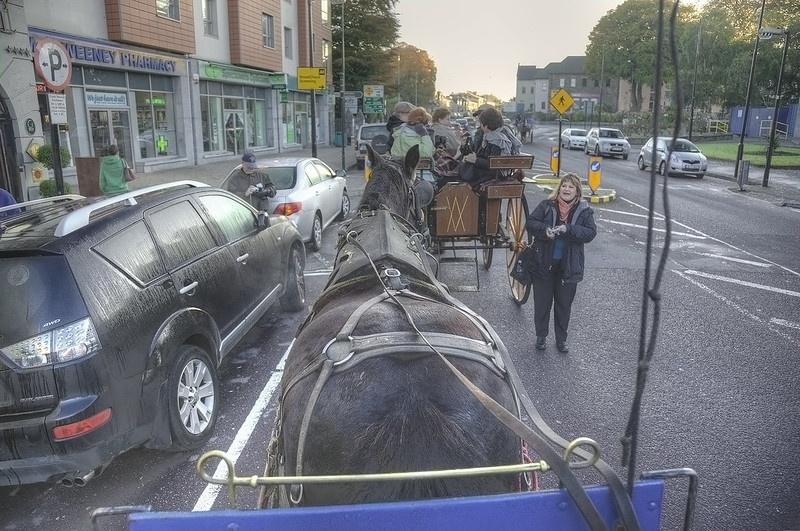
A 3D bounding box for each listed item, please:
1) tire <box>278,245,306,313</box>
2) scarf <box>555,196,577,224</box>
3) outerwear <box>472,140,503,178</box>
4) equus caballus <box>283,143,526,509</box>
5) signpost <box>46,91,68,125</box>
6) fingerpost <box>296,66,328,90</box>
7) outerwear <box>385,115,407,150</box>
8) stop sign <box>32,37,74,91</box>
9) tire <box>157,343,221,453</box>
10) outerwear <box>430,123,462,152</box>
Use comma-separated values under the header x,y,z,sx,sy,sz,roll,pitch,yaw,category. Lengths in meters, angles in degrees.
x,y,z,sx,sy,sz,roll,pitch,yaw,category
-1.818,0.207,8.569,0.247,0.849,0.819,-4,25,9,tire
2.397,-0.810,7.495,0.242,0.219,0.349,4,8,12,scarf
1.524,-1.848,9.132,0.477,0.843,0.839,1,24,5,outerwear
0.034,0.255,3.958,0.881,1.801,2.835,-5,18,-3,equus caballus
-6.251,-2.861,9.407,0.228,0.546,0.755,-9,19,-25,signpost
-3.594,-7.639,21.098,1.330,0.854,0.747,6,18,22,fingerpost
-0.099,-2.203,8.352,0.370,0.244,0.555,3,47,9,outerwear
-6.041,-3.475,8.920,0.327,0.825,0.725,0,17,5,stop sign
-2.201,1.366,5.296,0.281,0.997,0.944,-6,-16,12,tire
0.917,-2.601,10.263,0.610,0.347,0.908,19,16,-2,outerwear
